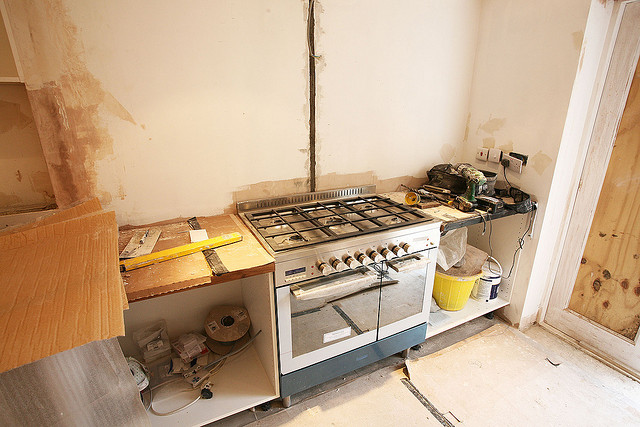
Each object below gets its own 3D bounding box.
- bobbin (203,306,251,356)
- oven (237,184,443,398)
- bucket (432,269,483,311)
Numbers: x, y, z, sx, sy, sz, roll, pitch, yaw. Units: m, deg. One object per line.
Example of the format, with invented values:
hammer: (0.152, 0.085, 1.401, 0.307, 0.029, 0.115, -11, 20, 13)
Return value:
bobbin: (-0.620, 0.753, 2.726, 0.268, 0.318, 0.277, -14, 29, -41)
oven: (0.130, 0.475, 2.793, 1.230, 1.083, 0.832, -10, 21, -30)
bucket: (0.994, 0.581, 3.030, 0.333, 0.253, 0.335, -2, 17, 1)
